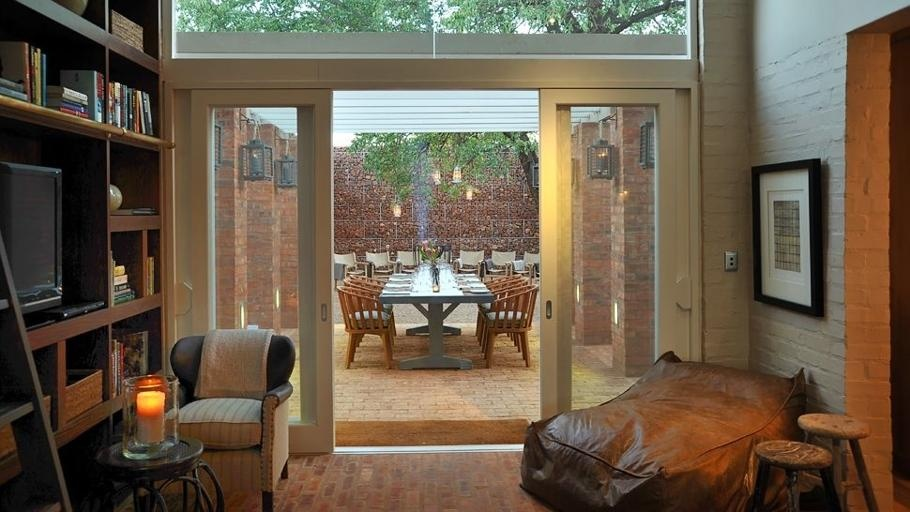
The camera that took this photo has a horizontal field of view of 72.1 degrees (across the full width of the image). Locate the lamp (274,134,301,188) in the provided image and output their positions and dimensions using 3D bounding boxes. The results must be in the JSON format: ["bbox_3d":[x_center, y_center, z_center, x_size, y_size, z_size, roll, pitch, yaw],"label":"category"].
[{"bbox_3d":[-1.469,-0.827,5.416,0.208,0.451,0.101,-4,12,-13],"label":"lamp"}]

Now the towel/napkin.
[{"bbox_3d":[-1.807,0.842,5.186,0.623,0.509,0.528,2,3,0],"label":"towel/napkin"}]

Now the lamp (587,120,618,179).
[{"bbox_3d":[1.293,-0.930,5.452,0.263,0.507,0.131,0,12,9],"label":"lamp"}]

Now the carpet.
[{"bbox_3d":[-0.205,1.665,5.901,1.842,0.043,0.511,-2,11,-3],"label":"carpet"}]

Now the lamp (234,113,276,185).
[{"bbox_3d":[-1.727,-0.941,5.419,0.293,0.552,0.154,-2,12,-3],"label":"lamp"}]

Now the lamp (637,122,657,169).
[{"bbox_3d":[1.695,-0.973,5.475,0.139,0.400,0.111,1,12,10],"label":"lamp"}]
